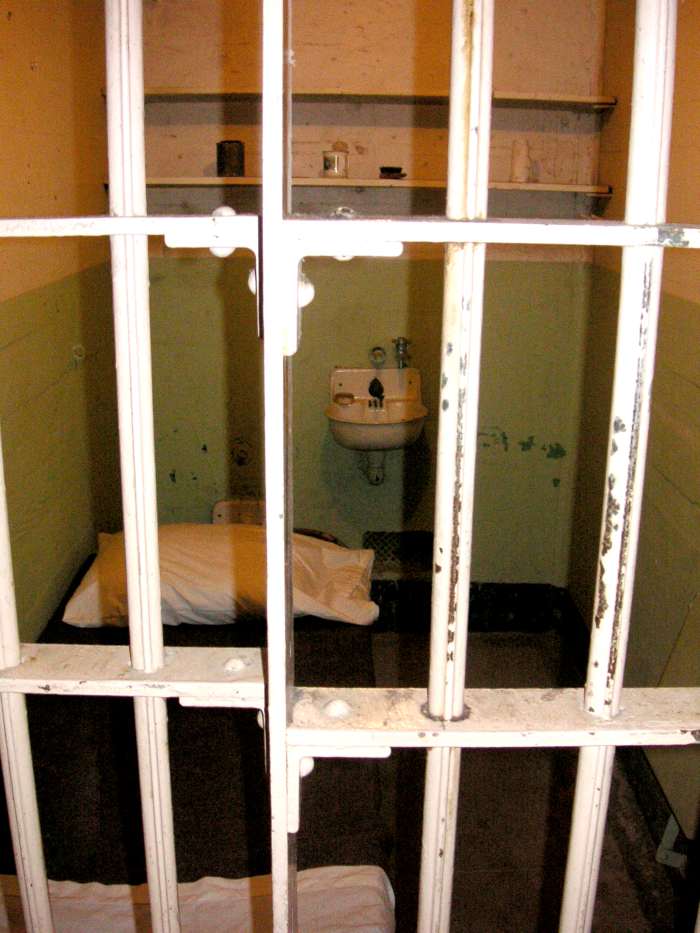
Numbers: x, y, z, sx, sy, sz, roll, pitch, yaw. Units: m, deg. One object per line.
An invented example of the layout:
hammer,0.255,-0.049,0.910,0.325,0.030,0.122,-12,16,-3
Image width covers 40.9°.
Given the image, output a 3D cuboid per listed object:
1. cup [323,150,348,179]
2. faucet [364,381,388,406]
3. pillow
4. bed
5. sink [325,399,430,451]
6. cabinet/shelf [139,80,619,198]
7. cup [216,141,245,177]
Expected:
cup,-0.060,-1.236,3.854,0.122,0.107,0.109,2,13,8
faucet,0.113,-0.327,4.045,0.071,0.113,0.113,-1,19,3
pillow,-0.445,0.418,3.460,0.920,0.199,0.553,0,20,-4
bed,-0.483,0.742,3.323,0.925,0.294,1.255,2,36,-2
sink,0.109,-0.165,4.028,0.423,0.197,0.274,3,11,0
cabinet/shelf,0.091,-1.284,3.757,1.883,0.397,0.385,3,12,0
cup,-0.480,-1.220,3.733,0.106,0.158,0.158,1,12,-10
